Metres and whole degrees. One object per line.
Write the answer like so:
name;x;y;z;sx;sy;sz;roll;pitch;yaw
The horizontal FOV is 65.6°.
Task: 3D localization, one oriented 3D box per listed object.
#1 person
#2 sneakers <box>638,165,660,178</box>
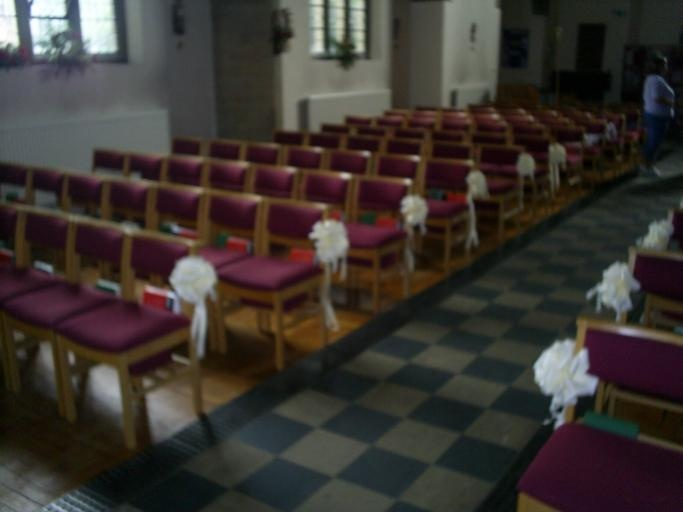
person;4.615;-2.022;7.777;0.410;1.666;0.370;8;20;29
sneakers;4.633;-1.272;8.007;0.124;0.150;0.337;-18;31;-29
